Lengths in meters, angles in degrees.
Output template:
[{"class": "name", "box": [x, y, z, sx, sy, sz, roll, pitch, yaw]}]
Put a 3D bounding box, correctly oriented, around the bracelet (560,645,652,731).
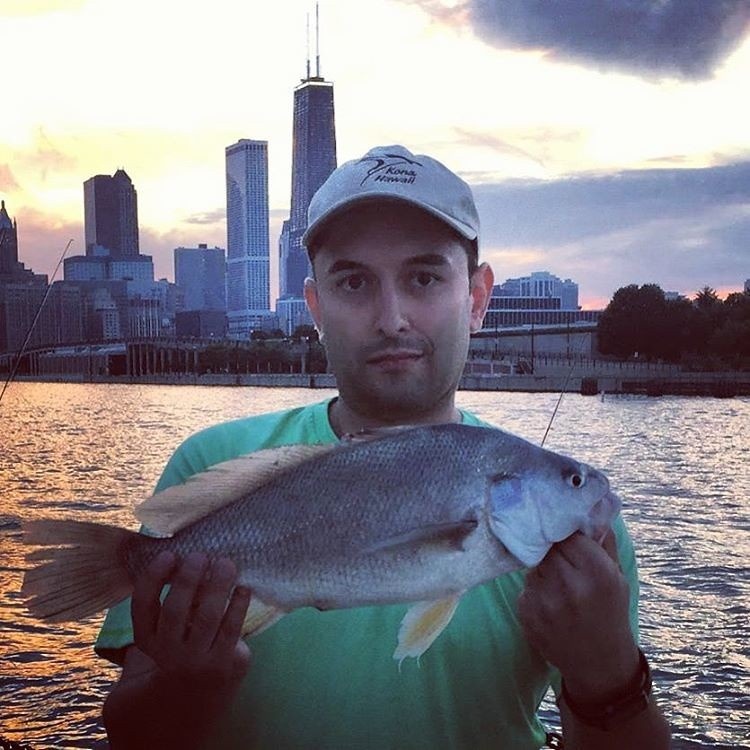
[{"class": "bracelet", "box": [0.785, 1.041, 3.527, 0.276, 0.097, 0.277, -5, -37, 7]}]
